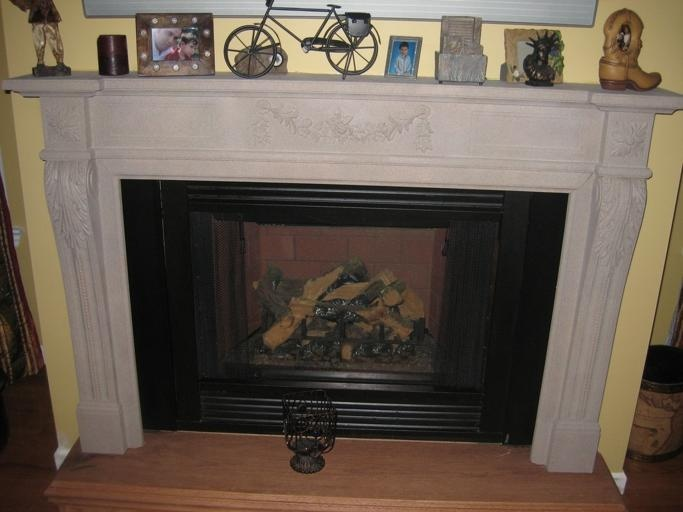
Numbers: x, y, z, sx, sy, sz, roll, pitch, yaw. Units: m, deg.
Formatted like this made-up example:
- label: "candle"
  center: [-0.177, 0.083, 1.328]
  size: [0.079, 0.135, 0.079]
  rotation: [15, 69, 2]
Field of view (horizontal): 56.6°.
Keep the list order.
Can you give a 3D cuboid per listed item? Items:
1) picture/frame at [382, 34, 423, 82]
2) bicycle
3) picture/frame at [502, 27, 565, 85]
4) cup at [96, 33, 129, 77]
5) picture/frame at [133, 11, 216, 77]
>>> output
- label: "picture/frame"
  center: [0.230, -0.743, 2.375]
  size: [0.177, 0.211, 0.015]
  rotation: [6, 18, 2]
- label: "bicycle"
  center: [-0.135, -0.836, 2.460]
  size: [0.567, 0.369, 0.292]
  rotation: [2, 38, 0]
- label: "picture/frame"
  center: [0.716, -0.744, 2.352]
  size: [0.221, 0.226, 0.023]
  rotation: [0, 10, 9]
- label: "cup"
  center: [-0.845, -0.752, 2.391]
  size: [0.136, 0.148, 0.097]
  rotation: [-14, 21, -42]
- label: "picture/frame"
  center: [-0.616, -0.781, 2.347]
  size: [0.239, 0.200, 0.018]
  rotation: [0, 10, -2]
